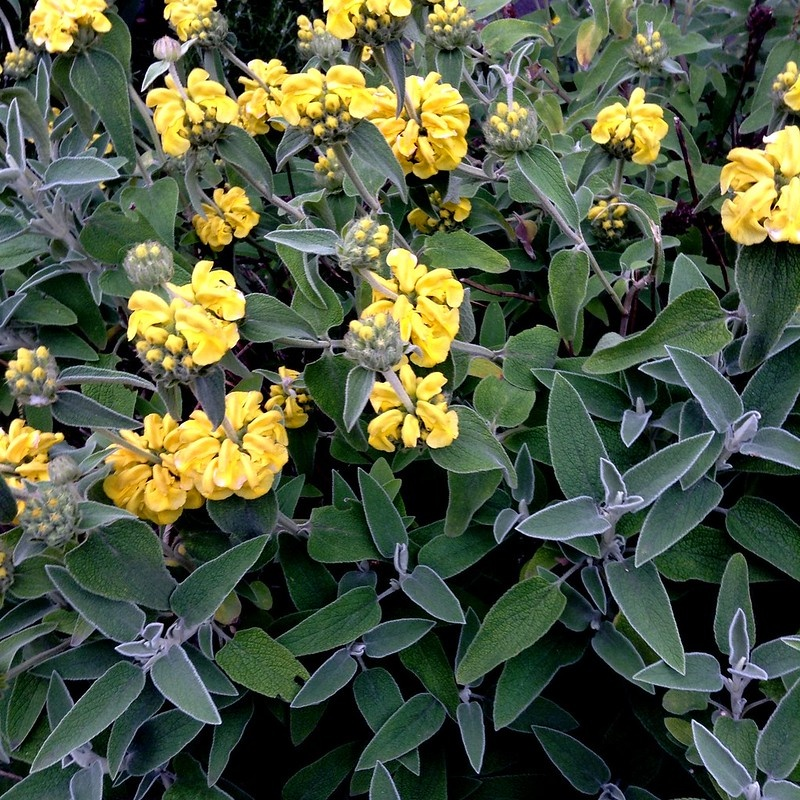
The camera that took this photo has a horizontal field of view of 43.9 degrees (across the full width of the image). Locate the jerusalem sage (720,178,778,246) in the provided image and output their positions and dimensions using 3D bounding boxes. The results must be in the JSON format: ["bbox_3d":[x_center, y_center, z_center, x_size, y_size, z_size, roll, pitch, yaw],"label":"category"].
[{"bbox_3d":[0.656,-0.348,1.874,0.097,0.043,0.108,-1,78,37],"label":"jerusalem sage"}]
